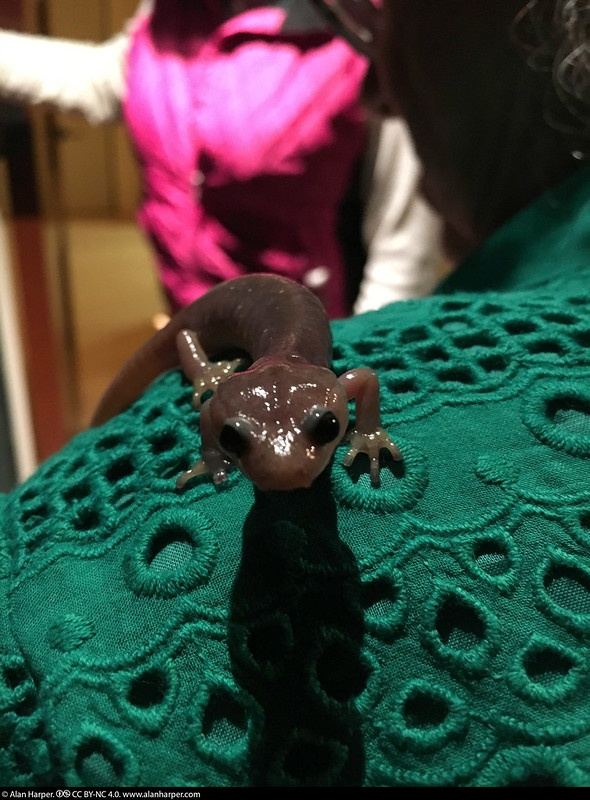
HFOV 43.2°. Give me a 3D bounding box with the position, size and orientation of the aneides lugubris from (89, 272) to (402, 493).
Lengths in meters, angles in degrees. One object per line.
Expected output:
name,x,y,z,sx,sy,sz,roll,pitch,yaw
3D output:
aneides lugubris,-0.100,-0.022,0.877,0.349,0.108,0.436,-16,35,-11
